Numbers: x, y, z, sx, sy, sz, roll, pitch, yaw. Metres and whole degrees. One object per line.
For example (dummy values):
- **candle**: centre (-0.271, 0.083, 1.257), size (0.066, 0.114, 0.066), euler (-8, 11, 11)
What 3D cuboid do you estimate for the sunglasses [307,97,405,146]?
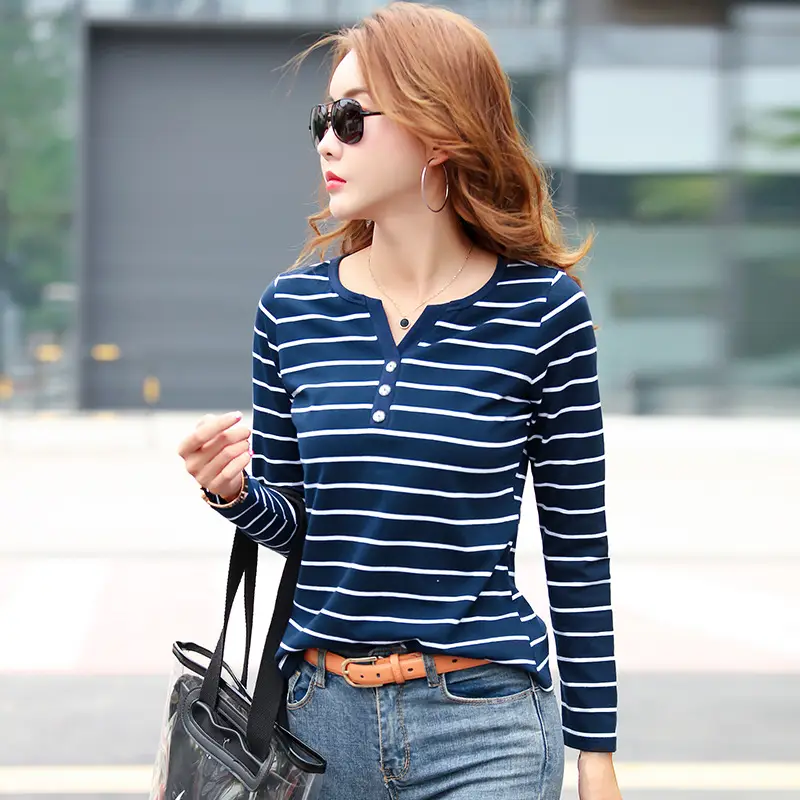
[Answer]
- **sunglasses**: centre (-0.137, -0.637, 3.385), size (0.137, 0.054, 0.144), euler (-4, -8, 42)

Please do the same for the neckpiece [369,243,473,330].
- **neckpiece**: centre (0.070, -0.268, 3.441), size (0.192, 0.040, 0.194), euler (-34, 29, -28)

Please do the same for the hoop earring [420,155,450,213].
- **hoop earring**: centre (0.076, -0.504, 3.413), size (0.026, 0.150, 0.130), euler (-6, -8, 32)
